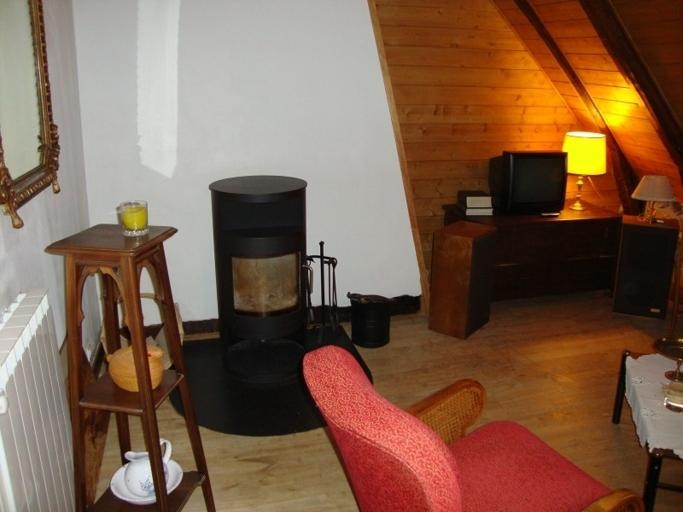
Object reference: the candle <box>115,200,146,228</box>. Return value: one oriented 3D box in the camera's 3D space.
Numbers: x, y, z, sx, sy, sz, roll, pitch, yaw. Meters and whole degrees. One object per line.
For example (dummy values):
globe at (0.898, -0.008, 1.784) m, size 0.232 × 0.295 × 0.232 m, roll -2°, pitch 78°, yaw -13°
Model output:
candle at (-0.816, -0.155, 2.098) m, size 0.099 × 0.112 × 0.114 m, roll 20°, pitch 14°, yaw 40°

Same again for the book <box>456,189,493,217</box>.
book at (1.067, -0.399, 4.193) m, size 0.194 × 0.129 × 0.278 m, roll 3°, pitch 17°, yaw 8°

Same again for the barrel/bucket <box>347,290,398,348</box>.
barrel/bucket at (0.200, 0.470, 3.946) m, size 0.348 × 0.346 × 0.332 m, roll -1°, pitch 3°, yaw 0°

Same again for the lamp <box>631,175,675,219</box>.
lamp at (2.343, -0.448, 4.170) m, size 0.335 × 0.387 × 0.341 m, roll -2°, pitch 9°, yaw 2°

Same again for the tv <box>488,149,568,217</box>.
tv at (1.523, -0.638, 4.416) m, size 0.523 × 0.529 × 0.534 m, roll -3°, pitch 13°, yaw -6°

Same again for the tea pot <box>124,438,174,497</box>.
tea pot at (-0.774, 0.878, 2.183) m, size 0.208 × 0.204 × 0.153 m, roll -16°, pitch 14°, yaw -30°

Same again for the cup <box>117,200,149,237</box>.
cup at (-0.810, -0.148, 2.056) m, size 0.131 × 0.153 × 0.132 m, roll 2°, pitch 8°, yaw 0°
